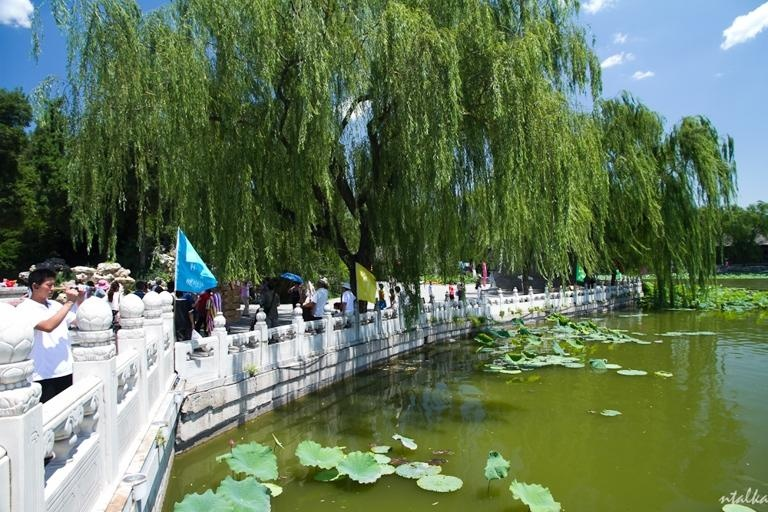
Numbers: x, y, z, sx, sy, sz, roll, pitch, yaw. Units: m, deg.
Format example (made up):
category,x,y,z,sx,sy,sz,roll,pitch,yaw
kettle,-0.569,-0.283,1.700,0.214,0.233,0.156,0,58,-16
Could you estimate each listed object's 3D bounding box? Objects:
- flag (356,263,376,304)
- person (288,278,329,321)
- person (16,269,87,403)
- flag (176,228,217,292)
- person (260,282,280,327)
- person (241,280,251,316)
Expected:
category,x,y,z,sx,sy,sz,roll,pitch,yaw
flag,-0.358,0.513,11.319,0.092,1.001,0.645,-11,-13,42
person,-1.412,0.912,11.640,0.444,0.936,0.987,-1,5,-17
person,-3.717,0.860,6.244,0.508,1.474,1.684,-2,6,-29
flag,-2.953,0.085,8.817,0.617,0.953,0.117,1,0,-6
person,-2.497,1.166,12.471,0.365,1.370,0.345,0,18,-14
person,-4.649,1.291,18.764,0.286,1.120,1.702,-1,5,-12
